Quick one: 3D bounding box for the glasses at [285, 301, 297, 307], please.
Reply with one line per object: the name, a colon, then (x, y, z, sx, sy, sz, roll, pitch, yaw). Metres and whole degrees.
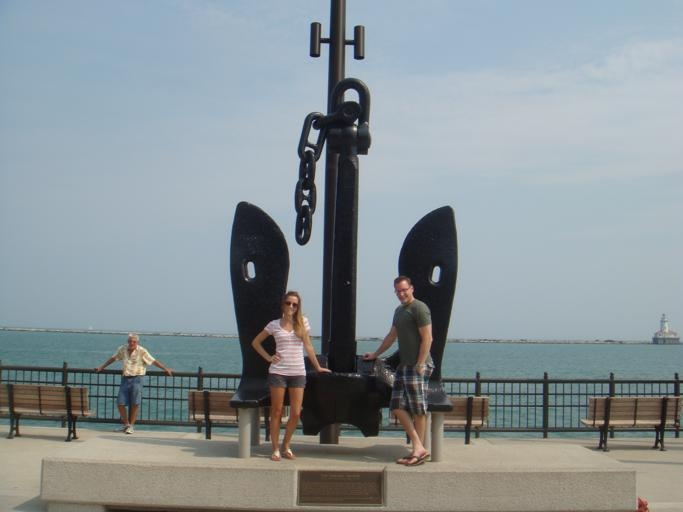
glasses: (-0.899, 0.846, 25.536, 0.193, 0.072, 0.034, 0, -1, -6)

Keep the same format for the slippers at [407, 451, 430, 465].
slippers: (1.412, 3.573, 25.276, 0.438, 0.112, 0.168, -6, -14, -45)

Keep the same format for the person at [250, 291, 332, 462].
person: (-0.980, 2.126, 25.641, 1.084, 2.983, 0.514, 0, -1, -3)

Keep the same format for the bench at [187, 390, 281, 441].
bench: (-2.090, 3.174, 29.165, 1.908, 1.188, 0.828, 2, 11, 2)

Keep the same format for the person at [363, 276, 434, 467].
person: (1.195, 2.010, 25.452, 0.911, 3.349, 1.240, 0, -1, 3)

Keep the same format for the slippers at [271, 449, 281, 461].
slippers: (-1.159, 3.529, 25.450, 0.177, 0.168, 0.213, 0, -1, -6)
